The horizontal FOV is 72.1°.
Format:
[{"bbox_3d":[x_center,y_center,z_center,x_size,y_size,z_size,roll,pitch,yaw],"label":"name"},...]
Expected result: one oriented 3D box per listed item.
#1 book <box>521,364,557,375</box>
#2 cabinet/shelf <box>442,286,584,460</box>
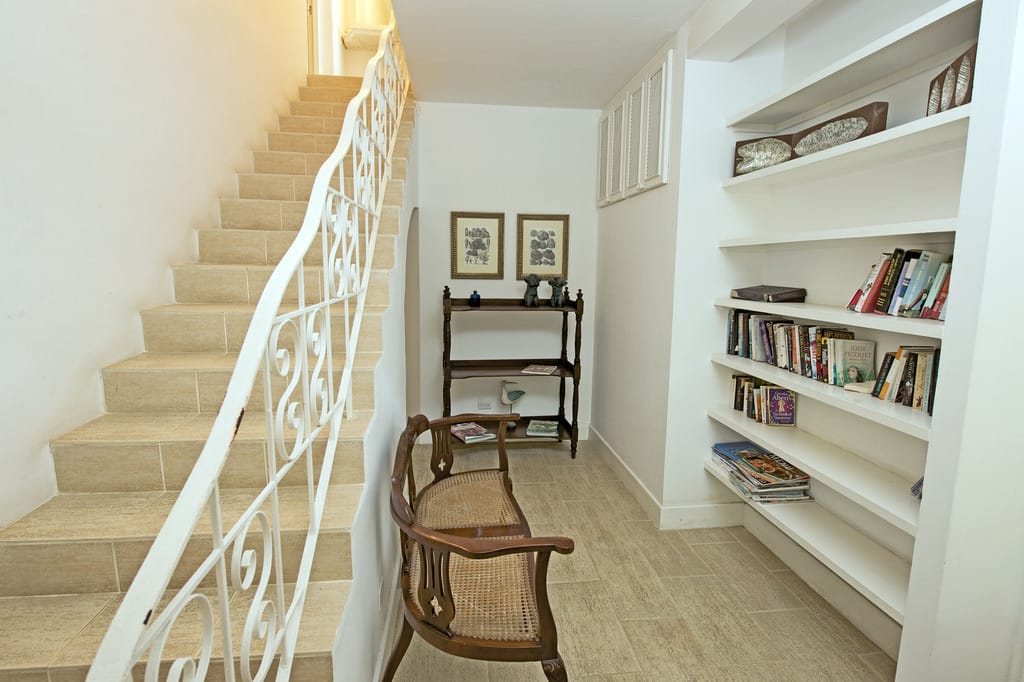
[{"bbox_3d":[0.232,0.242,5.948,0.303,0.066,0.245,1,4,0],"label":"book"},{"bbox_3d":[-0.014,0.227,5.915,1.391,1.685,0.557,0,4,-4],"label":"cabinet/shelf"}]
